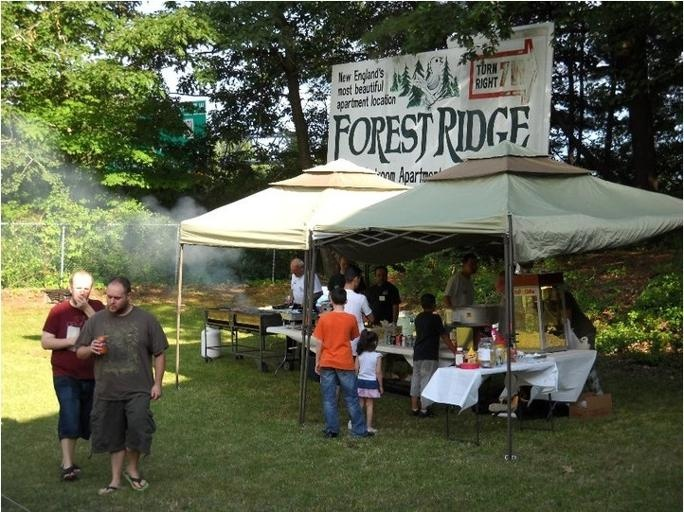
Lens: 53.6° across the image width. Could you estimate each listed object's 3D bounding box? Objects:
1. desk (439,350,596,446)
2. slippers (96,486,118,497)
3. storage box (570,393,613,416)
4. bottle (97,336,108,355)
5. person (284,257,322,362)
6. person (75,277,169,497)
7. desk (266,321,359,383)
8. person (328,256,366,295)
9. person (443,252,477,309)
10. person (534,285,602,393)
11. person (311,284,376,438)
[{"bbox_3d":[2.405,1.844,9.212,2.717,1.056,0.737,-3,6,-28],"label":"desk"},{"bbox_3d":[-2.627,2.630,7.587,0.182,0.045,0.090,4,1,-31],"label":"slippers"},{"bbox_3d":[3.684,2.224,10.063,0.544,0.294,0.304,-8,4,-25],"label":"storage box"},{"bbox_3d":[-2.656,0.983,7.422,0.138,0.232,0.141,0,5,0],"label":"bottle"},{"bbox_3d":[-0.808,1.047,13.285,0.604,2.074,0.797,-12,11,-41],"label":"person"},{"bbox_3d":[-2.430,1.440,7.546,0.969,2.419,0.450,-1,5,-9],"label":"person"},{"bbox_3d":[-0.706,1.831,12.422,1.195,0.814,1.195,-1,2,-38],"label":"desk"},{"bbox_3d":[-0.024,0.401,12.952,0.517,0.724,0.409,12,-20,19],"label":"person"},{"bbox_3d":[1.982,0.394,11.356,0.401,0.806,0.893,5,7,42],"label":"person"},{"bbox_3d":[3.410,1.309,10.312,0.717,0.586,1.763,1,31,12],"label":"person"},{"bbox_3d":[-0.020,1.450,9.241,0.714,2.056,0.345,-1,5,-4],"label":"person"}]
